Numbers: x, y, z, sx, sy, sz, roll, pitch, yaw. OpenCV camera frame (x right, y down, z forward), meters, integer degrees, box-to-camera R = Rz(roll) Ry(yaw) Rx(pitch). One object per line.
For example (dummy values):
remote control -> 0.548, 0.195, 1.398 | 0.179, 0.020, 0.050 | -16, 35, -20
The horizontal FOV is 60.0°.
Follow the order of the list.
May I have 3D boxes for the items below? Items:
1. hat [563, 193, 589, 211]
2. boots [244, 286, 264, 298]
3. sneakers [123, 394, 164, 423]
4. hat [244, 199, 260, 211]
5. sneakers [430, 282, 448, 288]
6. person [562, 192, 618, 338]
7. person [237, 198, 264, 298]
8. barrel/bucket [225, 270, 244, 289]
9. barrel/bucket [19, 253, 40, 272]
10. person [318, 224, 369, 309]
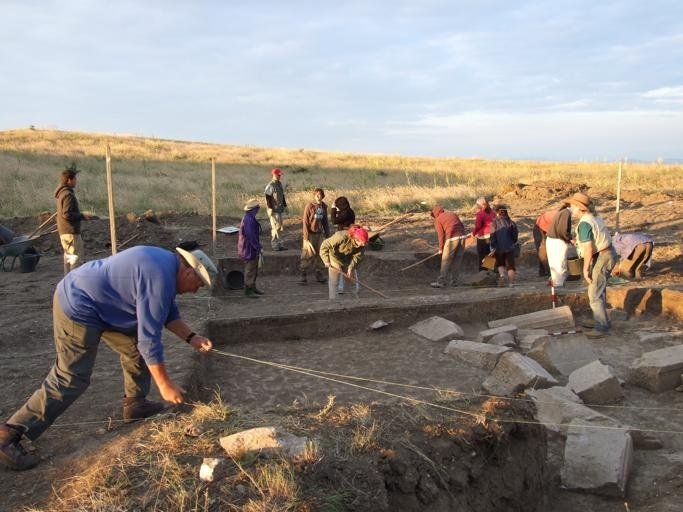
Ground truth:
hat -> 3.764, -0.903, 9.340 | 0.400, 0.207, 0.389 | 15, -6, 4
boots -> -1.697, 0.679, 11.431 | 0.384, 0.237, 0.141 | -1, 9, -11
sneakers -> -2.090, 1.572, 6.134 | 0.502, 0.283, 0.177 | -4, 8, -29
hat -> -1.663, -0.952, 10.971 | 0.343, 0.136, 0.368 | -17, 5, -5
sneakers -> 1.963, 0.586, 12.255 | 0.122, 0.115, 0.299 | -5, 9, -43
person -> 3.827, 0.129, 9.106 | 0.639, 2.144, 0.504 | 7, 15, 42
person -> -1.723, -0.151, 11.244 | 0.431, 1.877, 0.922 | -5, 11, -8
barrel/bucket -> -2.232, 0.495, 12.317 | 0.407, 0.374, 0.178 | -5, -8, -4
barrel/bucket -> -6.708, 0.135, 12.752 | 0.340, 0.352, 0.380 | 2, -1, -5
person -> 0.045, 0.091, 10.363 | 0.798, 1.363, 1.684 | -3, 10, -1
